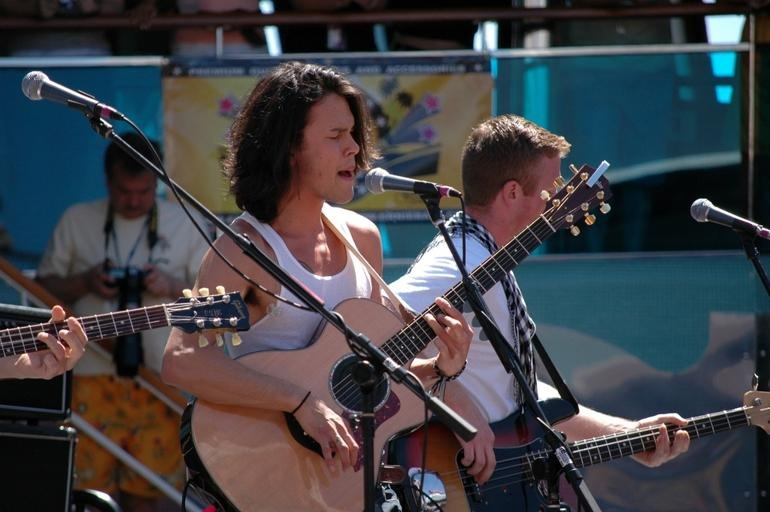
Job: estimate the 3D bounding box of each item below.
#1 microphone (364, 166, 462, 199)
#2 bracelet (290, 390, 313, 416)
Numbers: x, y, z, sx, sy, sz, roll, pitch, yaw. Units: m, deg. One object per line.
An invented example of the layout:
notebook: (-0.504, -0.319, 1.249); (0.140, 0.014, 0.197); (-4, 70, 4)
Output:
microphone: (0.163, -0.464, 9.117); (0.519, 0.156, 0.138); (14, 42, 14)
bracelet: (-0.481, 0.852, 8.254); (0.139, 0.033, 0.102); (-46, 8, -11)
